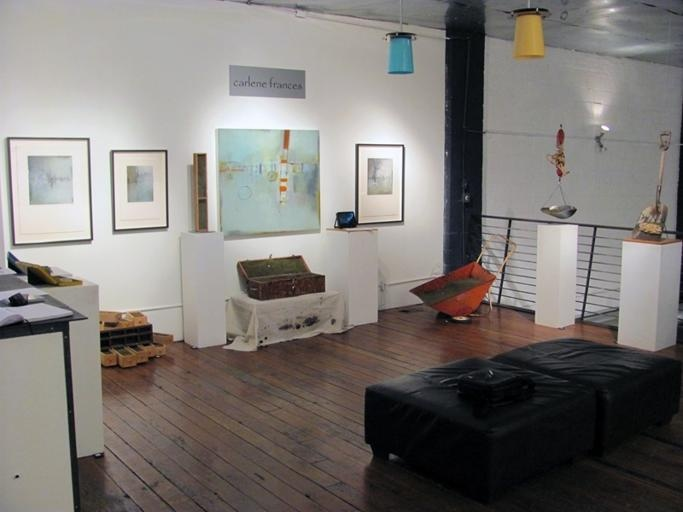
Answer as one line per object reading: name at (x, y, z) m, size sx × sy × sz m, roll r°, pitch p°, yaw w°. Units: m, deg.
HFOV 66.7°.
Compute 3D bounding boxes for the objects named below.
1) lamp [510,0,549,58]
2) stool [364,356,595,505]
lamp at (1.587, -1.896, 4.381) m, size 0.288 × 0.458 × 0.347 m, roll 2°, pitch 9°, yaw 20°
stool at (1.021, 1.046, 3.356) m, size 0.929 × 0.458 × 0.979 m, roll -8°, pitch 11°, yaw -36°
